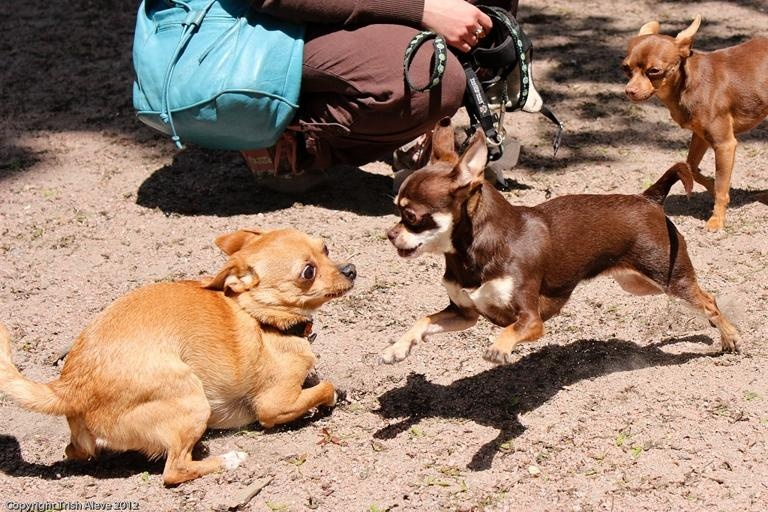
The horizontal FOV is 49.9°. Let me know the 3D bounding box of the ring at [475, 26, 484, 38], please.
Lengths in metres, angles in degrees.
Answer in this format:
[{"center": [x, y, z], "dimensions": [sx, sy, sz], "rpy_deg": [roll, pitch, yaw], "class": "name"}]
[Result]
[{"center": [0.792, -1.842, 6.791], "dimensions": [0.064, 0.075, 0.028], "rpy_deg": [-15, 71, -21], "class": "ring"}]
